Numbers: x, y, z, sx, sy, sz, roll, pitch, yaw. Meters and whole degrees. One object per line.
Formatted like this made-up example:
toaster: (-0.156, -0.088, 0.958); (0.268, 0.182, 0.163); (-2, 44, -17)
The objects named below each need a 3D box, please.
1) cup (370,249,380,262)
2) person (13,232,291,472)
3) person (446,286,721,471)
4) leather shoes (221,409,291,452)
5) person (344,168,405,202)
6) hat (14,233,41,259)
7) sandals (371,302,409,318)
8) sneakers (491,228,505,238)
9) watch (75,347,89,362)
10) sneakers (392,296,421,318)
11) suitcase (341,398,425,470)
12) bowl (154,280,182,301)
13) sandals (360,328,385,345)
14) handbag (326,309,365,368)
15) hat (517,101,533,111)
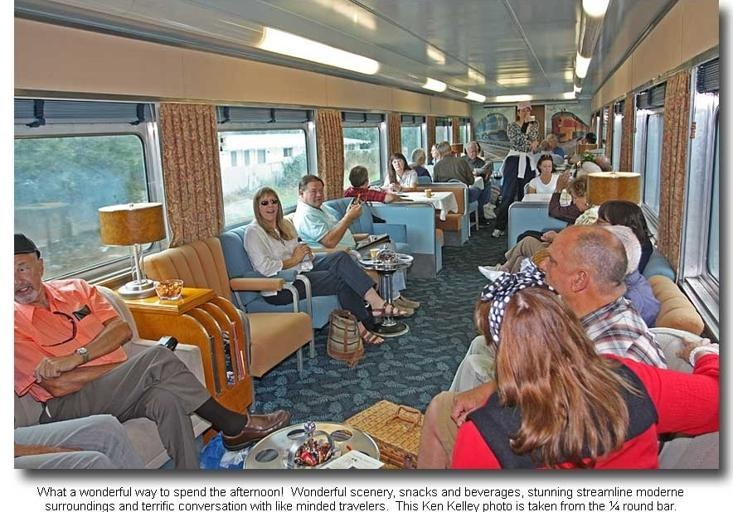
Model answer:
cup: (0.104, 0.001, 5.948); (0.130, 0.132, 0.135); (2, 14, 0)
person: (-1.724, 0.865, 3.421); (1.441, 1.365, 0.573); (-4, 9, -8)
person: (0.959, 0.534, 1.927); (1.225, 0.803, 0.342); (-5, 9, -14)
leather shoes: (-0.879, 1.344, 3.651); (0.567, 0.221, 0.211); (-20, 24, -22)
person: (0.072, -1.197, 7.903); (1.174, 0.593, 0.723); (8, 22, 28)
hat: (-2.333, -0.071, 3.139); (0.065, 0.160, 0.164); (-3, 8, 3)
sandals: (0.281, 0.695, 5.667); (0.524, 0.203, 0.206); (-1, 5, -5)
sneakers: (3.065, -0.524, 10.669); (0.150, 0.151, 0.387); (0, 1, 38)
watch: (-2.031, 0.712, 3.277); (0.077, 0.105, 0.113); (7, 5, -12)
sneakers: (0.542, 0.710, 6.387); (0.328, 0.106, 0.231); (11, 16, 30)
suitcase: (0.173, 1.228, 3.197); (0.621, 0.228, 0.548); (4, 11, 40)
bowl: (-1.695, 0.281, 3.934); (0.190, 0.108, 0.184); (2, 10, 0)
sandals: (0.053, 0.978, 5.454); (0.335, 0.084, 0.135); (14, 24, 27)
handbag: (-0.247, 0.938, 5.081); (0.534, 0.608, 0.344); (4, 17, 14)
hat: (3.891, -3.721, 11.412); (0.275, 0.148, 0.380); (-3, 12, 2)
